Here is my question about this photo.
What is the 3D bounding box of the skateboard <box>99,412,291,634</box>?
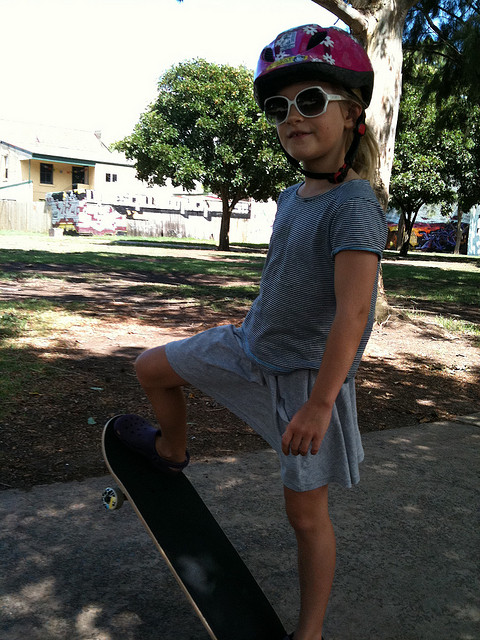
[{"bbox_3d":[-0.274,0.541,1.650,0.290,0.167,1.087,-4,41,-38],"label":"skateboard"}]

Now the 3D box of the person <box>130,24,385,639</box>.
[{"bbox_3d":[0.117,-0.003,1.379,0.421,1.508,0.709,-3,14,-39],"label":"person"}]
